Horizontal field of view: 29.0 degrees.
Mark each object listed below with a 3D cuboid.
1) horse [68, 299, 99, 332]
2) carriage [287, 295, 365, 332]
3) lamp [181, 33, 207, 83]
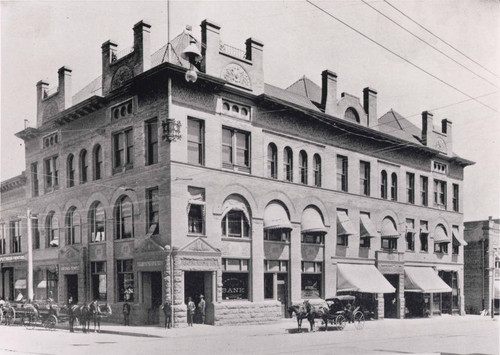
[{"bbox_3d":[-9.970,8.425,58.462,1.982,1.839,1.278,-1,-10,8],"label":"horse"},{"bbox_3d":[5.119,8.258,62.013,6.511,2.698,3.528,4,-13,-42],"label":"carriage"},{"bbox_3d":[-3.579,-7.257,61.182,1.301,2.954,1.328,3,-7,-27],"label":"lamp"}]
